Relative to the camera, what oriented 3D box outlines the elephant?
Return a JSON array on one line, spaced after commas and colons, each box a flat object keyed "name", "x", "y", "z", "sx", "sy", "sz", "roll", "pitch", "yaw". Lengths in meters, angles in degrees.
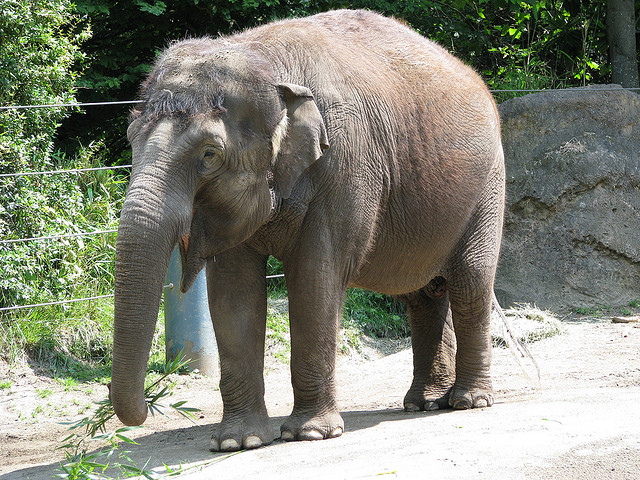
[{"name": "elephant", "x": 0.070, "y": -0.090, "z": 5.576, "sx": 2.880, "sy": 2.524, "sz": 1.211, "roll": -3, "pitch": 6, "yaw": -38}]
